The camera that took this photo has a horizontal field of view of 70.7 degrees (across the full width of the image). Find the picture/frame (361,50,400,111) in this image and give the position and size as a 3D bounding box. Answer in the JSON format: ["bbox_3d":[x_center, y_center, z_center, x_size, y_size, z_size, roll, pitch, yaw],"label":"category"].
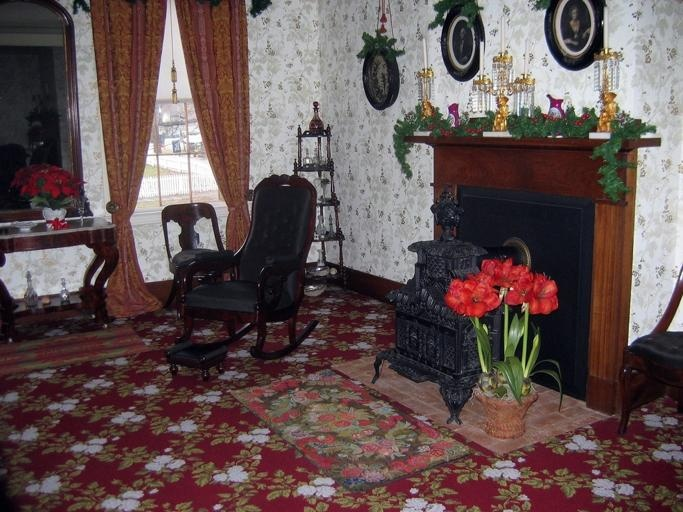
[{"bbox_3d":[0.451,-1.964,5.358,0.136,0.830,0.756,-5,10,-32],"label":"picture/frame"}]

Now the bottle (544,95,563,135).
[{"bbox_3d":[1.517,-1.007,3.421,0.133,0.316,0.443,3,13,23],"label":"bottle"}]

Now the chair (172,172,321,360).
[{"bbox_3d":[-0.756,0.116,4.304,1.014,1.476,1.218,9,15,44],"label":"chair"}]

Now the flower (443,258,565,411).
[{"bbox_3d":[1.096,0.528,3.144,0.672,1.126,0.894,4,14,25],"label":"flower"}]

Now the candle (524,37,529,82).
[{"bbox_3d":[1.383,-1.477,3.598,0.037,0.322,0.348,3,13,20],"label":"candle"}]

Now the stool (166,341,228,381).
[{"bbox_3d":[-1.171,0.854,3.996,0.412,0.247,0.287,3,13,22],"label":"stool"}]

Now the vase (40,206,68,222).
[{"bbox_3d":[-2.952,-0.428,4.929,0.192,0.118,0.168,-3,10,-20],"label":"vase"}]

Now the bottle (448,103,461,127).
[{"bbox_3d":[1.003,-1.251,4.284,0.103,0.223,0.433,1,12,12],"label":"bottle"}]

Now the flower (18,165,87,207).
[{"bbox_3d":[-2.975,-0.675,5.012,0.517,0.317,0.532,9,9,21],"label":"flower"}]

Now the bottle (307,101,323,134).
[{"bbox_3d":[-0.317,-1.730,6.114,0.171,0.396,0.509,-2,12,-1],"label":"bottle"}]

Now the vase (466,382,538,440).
[{"bbox_3d":[1.006,0.985,2.957,0.354,0.217,0.339,-2,12,0],"label":"vase"}]
